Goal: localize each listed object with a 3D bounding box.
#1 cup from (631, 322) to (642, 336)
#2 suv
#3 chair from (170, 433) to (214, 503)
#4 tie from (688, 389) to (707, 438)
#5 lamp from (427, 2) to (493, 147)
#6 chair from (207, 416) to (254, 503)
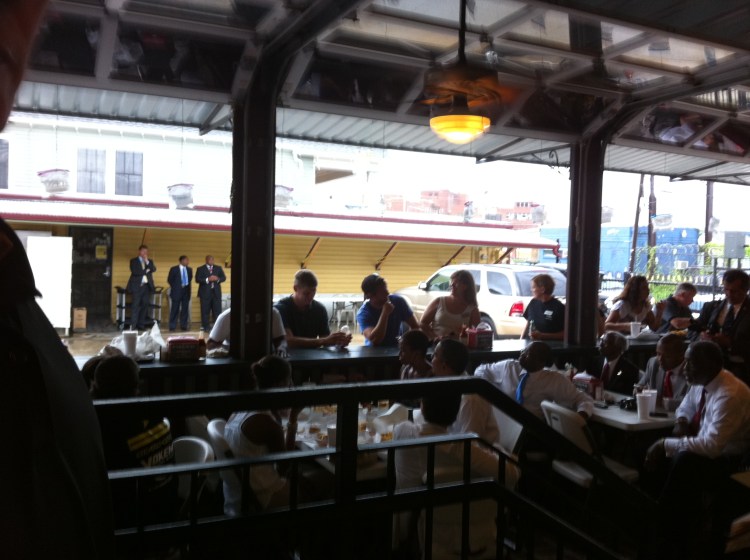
[{"bbox_3d":[3.217,0.591,8.820,0.134,0.165,0.155,2,-5,-25],"label":"cup"},{"bbox_3d":[1.808,0.191,13.159,1.407,1.155,2.811,-4,12,-41],"label":"suv"},{"bbox_3d":[-1.231,1.254,4.711,0.337,0.423,0.373,0,-9,-12],"label":"chair"},{"bbox_3d":[2.612,1.072,5.769,0.097,0.323,0.237,13,1,19],"label":"tie"},{"bbox_3d":[0.658,-1.588,5.469,0.549,0.980,0.425,1,4,3],"label":"lamp"},{"bbox_3d":[-0.949,1.031,4.573,0.229,0.274,0.241,-3,-27,20],"label":"chair"}]
